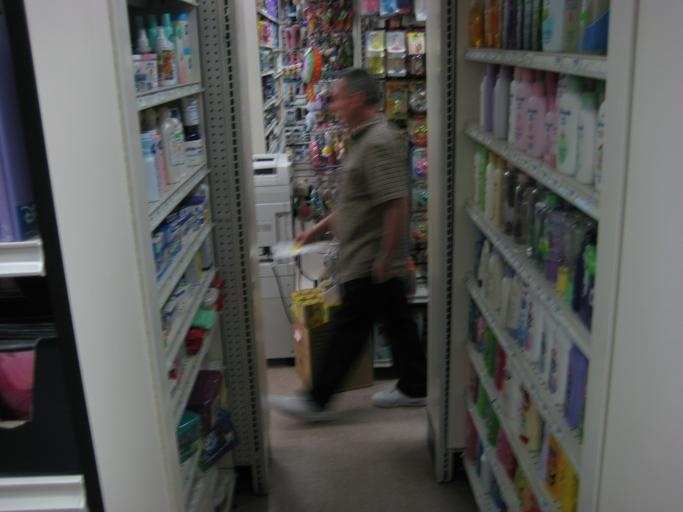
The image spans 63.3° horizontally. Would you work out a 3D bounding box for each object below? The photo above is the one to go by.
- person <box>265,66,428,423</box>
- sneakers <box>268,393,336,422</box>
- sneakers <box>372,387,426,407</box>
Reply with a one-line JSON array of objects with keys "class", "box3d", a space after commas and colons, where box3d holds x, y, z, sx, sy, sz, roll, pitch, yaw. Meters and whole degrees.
[{"class": "person", "box3d": [0.089, 0.030, 3.624, 0.792, 2.375, 0.563, 1, 17, 19]}, {"class": "sneakers", "box3d": [-0.293, 1.063, 3.971, 0.390, 0.175, 0.245, 6, 3, 4]}, {"class": "sneakers", "box3d": [0.410, 1.018, 4.141, 0.393, 0.187, 0.154, 2, 4, -2]}]
